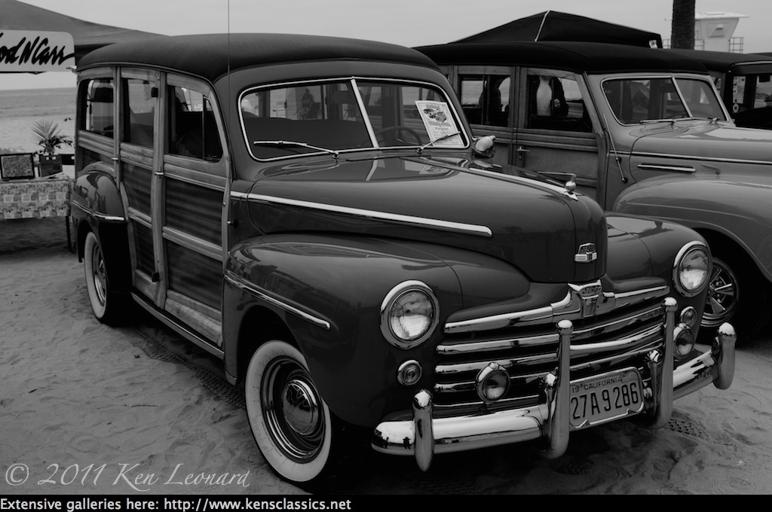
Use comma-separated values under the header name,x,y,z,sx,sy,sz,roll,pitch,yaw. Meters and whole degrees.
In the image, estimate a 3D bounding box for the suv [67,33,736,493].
name,x,y,z,sx,sy,sz,roll,pitch,yaw
suv,-0.782,-0.627,5.248,3.282,2.572,6.111,-14,22,-39
